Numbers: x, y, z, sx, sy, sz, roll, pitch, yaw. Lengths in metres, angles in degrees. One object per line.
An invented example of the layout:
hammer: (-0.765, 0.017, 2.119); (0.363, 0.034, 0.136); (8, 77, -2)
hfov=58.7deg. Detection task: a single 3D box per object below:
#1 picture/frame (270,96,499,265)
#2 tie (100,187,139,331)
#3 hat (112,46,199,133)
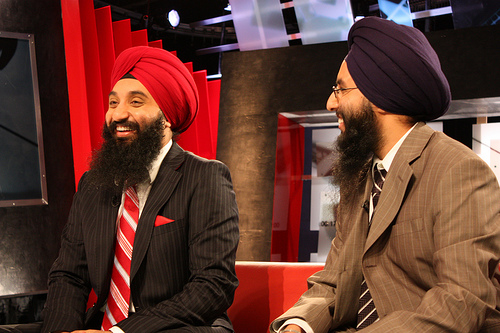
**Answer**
picture/frame: (0.854, 0.093, 2.747); (1.291, 1.365, 0.100); (0, -2, 16)
tie: (-0.771, 0.603, 2.698); (0.139, 0.969, 0.106); (1, -11, 12)
hat: (-0.566, -0.566, 3.128); (0.474, 0.639, 0.562); (0, 17, 10)
